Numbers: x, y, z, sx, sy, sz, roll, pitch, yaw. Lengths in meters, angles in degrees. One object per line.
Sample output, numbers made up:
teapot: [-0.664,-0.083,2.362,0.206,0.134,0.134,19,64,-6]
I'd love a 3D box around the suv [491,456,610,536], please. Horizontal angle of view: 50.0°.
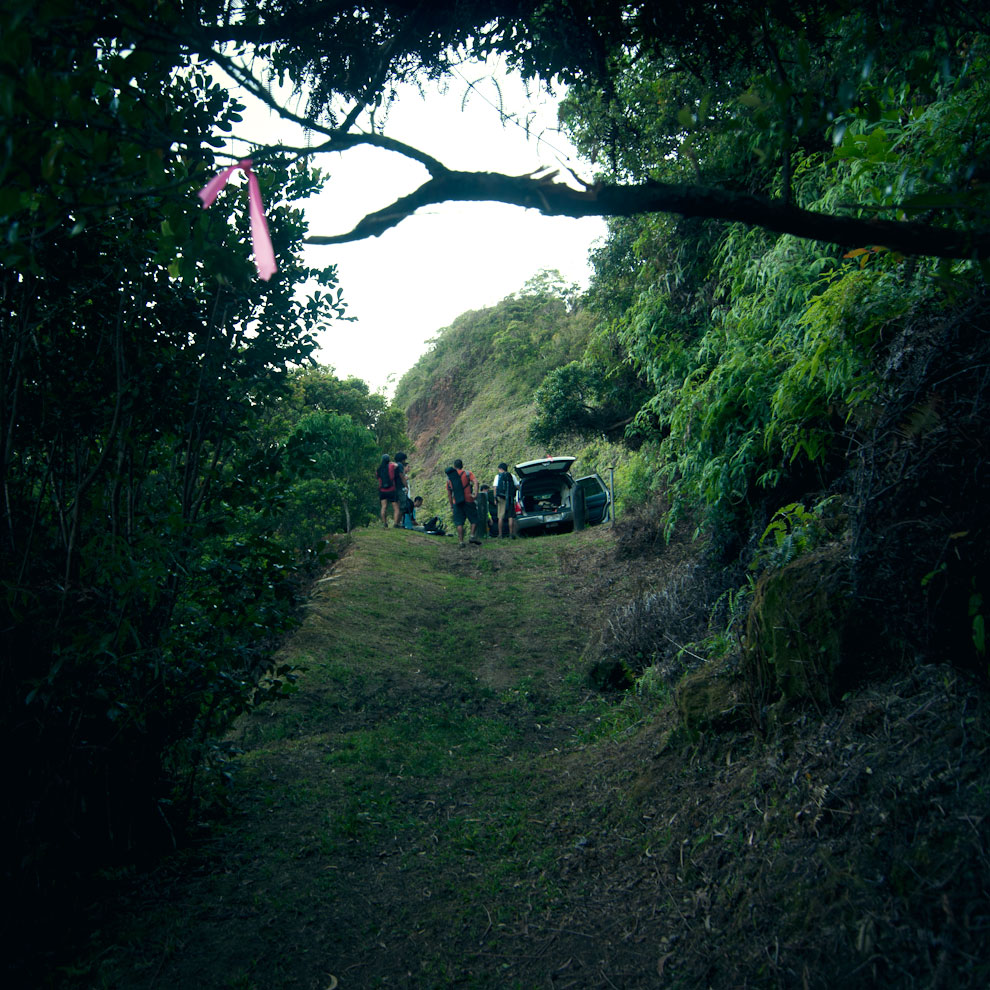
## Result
suv: [1.179,0.049,21.044,1.371,1.512,2.887,-6,7,-19]

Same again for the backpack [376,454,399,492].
backpack: [-2.105,-0.387,21.066,0.531,1.012,0.480,0,-12,0]
